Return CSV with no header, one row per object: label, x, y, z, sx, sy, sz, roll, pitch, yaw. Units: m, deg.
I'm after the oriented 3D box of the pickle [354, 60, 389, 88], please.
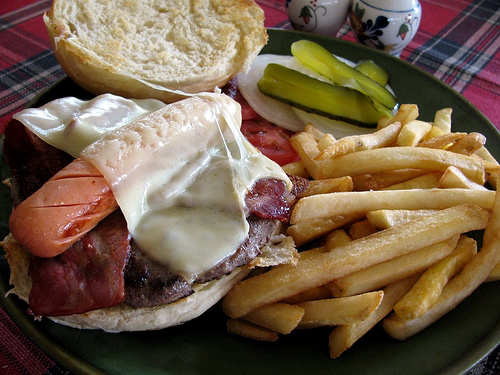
pickle,0.841,-0.816,3.499,0.347,0.167,0.283,2,15,7
